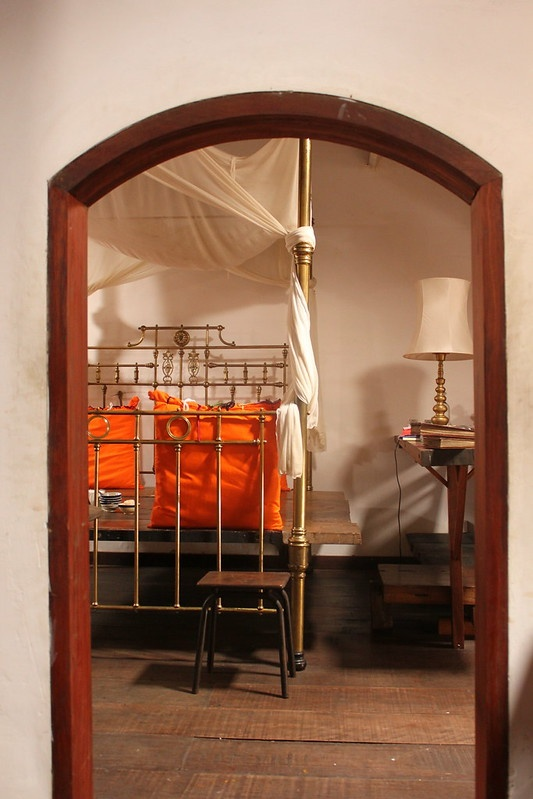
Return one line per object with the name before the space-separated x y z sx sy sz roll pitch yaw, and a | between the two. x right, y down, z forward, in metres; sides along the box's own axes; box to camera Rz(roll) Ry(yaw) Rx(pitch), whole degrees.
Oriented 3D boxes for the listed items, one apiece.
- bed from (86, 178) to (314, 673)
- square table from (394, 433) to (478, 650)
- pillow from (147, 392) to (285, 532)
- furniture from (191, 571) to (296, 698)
bed | -0.225 0.222 2.937 0.579 0.989 0.621 16 10 12
square table | 0.795 0.666 3.692 0.430 0.832 0.931 -2 3 4
pillow | -0.206 0.278 3.425 0.680 0.568 0.248 0 9 15
furniture | -0.069 0.853 3.005 0.432 0.440 0.398 0 -4 4
